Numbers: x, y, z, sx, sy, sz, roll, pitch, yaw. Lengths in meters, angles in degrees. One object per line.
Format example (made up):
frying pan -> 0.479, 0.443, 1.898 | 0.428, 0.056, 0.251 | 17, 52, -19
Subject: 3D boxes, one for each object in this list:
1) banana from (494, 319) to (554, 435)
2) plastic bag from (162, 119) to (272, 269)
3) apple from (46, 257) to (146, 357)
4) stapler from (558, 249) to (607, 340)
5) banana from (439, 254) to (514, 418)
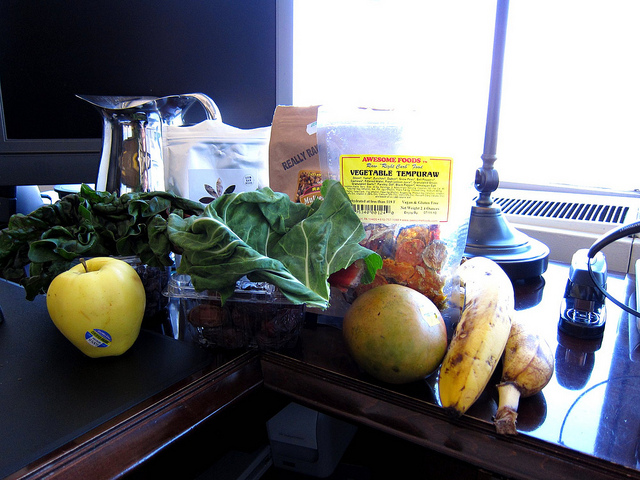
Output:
banana -> 0.246, 0.161, 0.537 | 0.078, 0.046, 0.168 | 5, 32, 28
plastic bag -> -0.180, -0.136, 0.753 | 0.187, 0.134, 0.089 | -3, 15, -6
apple -> -0.296, 0.080, 0.624 | 0.118, 0.128, 0.115 | 15, 22, 25
stapler -> 0.435, 0.074, 0.711 | 0.062, 0.098, 0.207 | 9, 19, 33
banana -> 0.212, 0.123, 0.595 | 0.104, 0.075, 0.311 | -14, 21, 30
